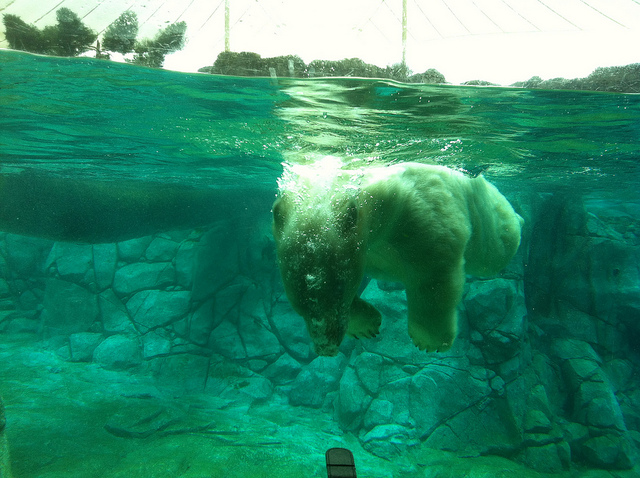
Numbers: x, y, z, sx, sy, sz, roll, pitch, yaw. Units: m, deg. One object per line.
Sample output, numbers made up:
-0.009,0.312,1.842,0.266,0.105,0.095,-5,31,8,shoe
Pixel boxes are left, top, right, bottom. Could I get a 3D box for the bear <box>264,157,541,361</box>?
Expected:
1.785,0.009,11.581,3.792,2.930,6.233,-2,6,42,bear
